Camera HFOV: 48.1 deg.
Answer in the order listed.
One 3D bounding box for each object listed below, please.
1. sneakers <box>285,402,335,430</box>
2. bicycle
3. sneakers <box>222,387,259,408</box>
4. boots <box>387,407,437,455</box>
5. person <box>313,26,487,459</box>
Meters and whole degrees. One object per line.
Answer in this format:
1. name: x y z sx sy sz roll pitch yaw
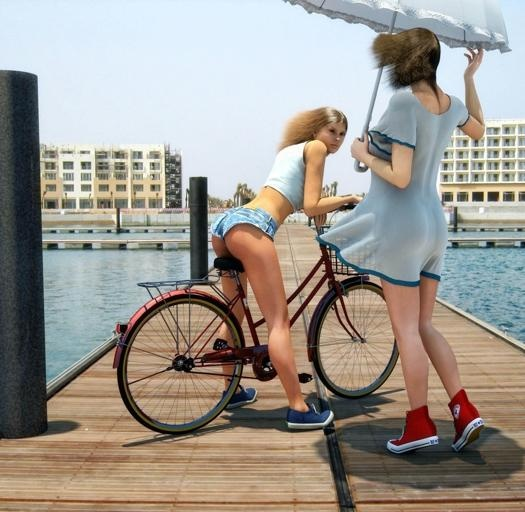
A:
1. sneakers: 0.233 0.823 2.991 0.230 0.091 0.110 1 -1 -8
2. bicycle: 0.144 0.371 3.695 2.179 1.139 0.908 -5 11 -17
3. sneakers: -0.118 0.797 3.327 0.111 0.090 0.246 4 6 37
4. boots: 0.678 0.808 2.685 0.140 0.176 0.297 9 -28 -24
5. person: 0.682 -0.054 2.674 0.753 1.913 0.564 1 7 5
